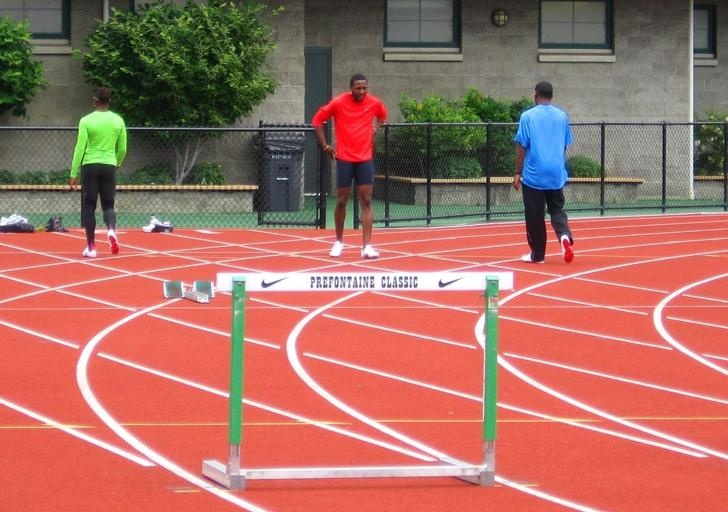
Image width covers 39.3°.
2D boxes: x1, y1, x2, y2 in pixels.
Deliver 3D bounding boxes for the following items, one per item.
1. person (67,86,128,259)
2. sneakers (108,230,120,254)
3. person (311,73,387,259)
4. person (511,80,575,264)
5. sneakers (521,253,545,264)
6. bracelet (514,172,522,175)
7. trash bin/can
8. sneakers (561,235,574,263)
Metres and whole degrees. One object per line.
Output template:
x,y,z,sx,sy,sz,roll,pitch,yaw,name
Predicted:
-3.678,-1.131,14.098,0.762,2.356,0.814,-5,13,-22,person
-3.560,-0.191,14.372,0.093,0.299,0.123,-14,24,-18,sneakers
-0.227,-1.233,14.103,0.955,2.521,0.883,3,13,10,person
2.428,-1.088,13.693,0.822,2.430,0.736,3,13,10,person
2.288,0.016,13.953,0.114,0.132,0.284,-2,9,-45,sneakers
2.039,-1.098,13.536,0.047,0.039,0.049,2,3,-3,bracelet
-1.635,-1.603,19.633,1.189,2.394,1.326,0,2,-7,trash bin/can
2.747,-0.107,13.586,0.147,0.443,0.194,-9,10,-1,sneakers
